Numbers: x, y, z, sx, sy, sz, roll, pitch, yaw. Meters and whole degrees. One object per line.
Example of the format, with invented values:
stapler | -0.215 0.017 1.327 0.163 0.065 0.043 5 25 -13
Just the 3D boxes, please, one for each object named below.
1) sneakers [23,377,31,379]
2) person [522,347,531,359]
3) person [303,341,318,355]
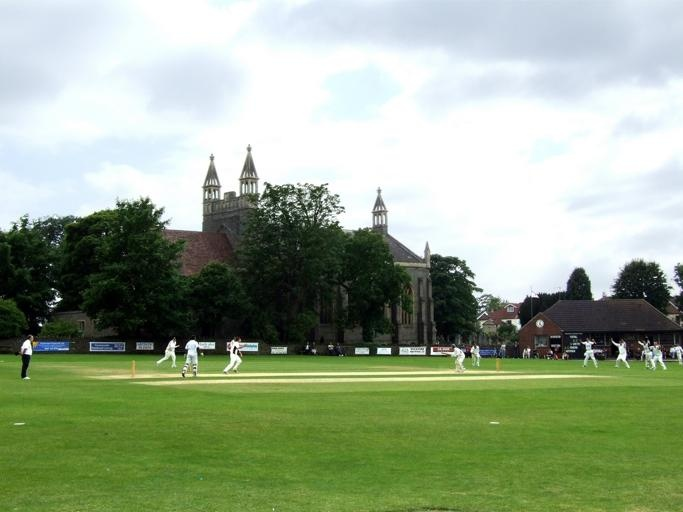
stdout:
sneakers | -12.859 4.938 39.953 0.257 0.113 0.088 -1 -2 13
person | 17.004 8.805 89.626 0.845 1.506 0.874 -5 -12 28
person | -2.895 8.555 91.179 0.988 1.092 0.977 1 -8 -7
